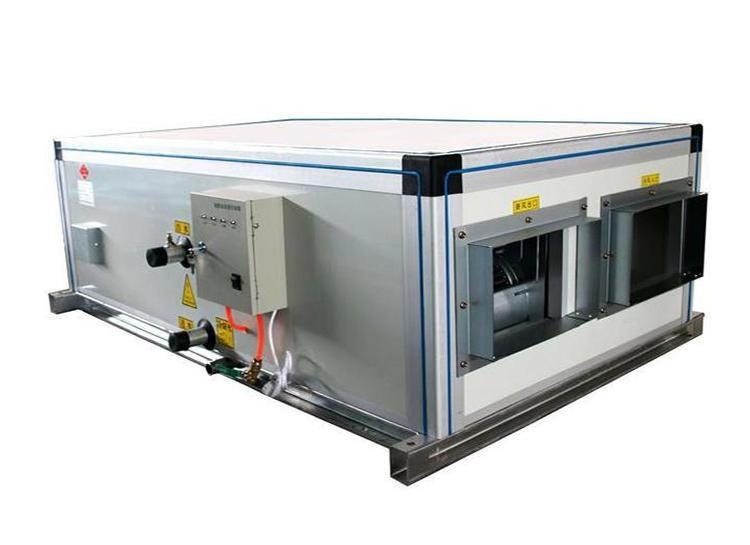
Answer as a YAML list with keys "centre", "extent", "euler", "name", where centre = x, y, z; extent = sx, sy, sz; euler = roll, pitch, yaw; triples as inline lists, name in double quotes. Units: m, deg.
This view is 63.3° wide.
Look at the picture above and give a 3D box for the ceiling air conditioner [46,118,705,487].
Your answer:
- centre: [-0.273, -0.143, 3.244]
  extent: [2.297, 0.860, 2.422]
  euler: [-15, 22, -43]
  name: "ceiling air conditioner"
